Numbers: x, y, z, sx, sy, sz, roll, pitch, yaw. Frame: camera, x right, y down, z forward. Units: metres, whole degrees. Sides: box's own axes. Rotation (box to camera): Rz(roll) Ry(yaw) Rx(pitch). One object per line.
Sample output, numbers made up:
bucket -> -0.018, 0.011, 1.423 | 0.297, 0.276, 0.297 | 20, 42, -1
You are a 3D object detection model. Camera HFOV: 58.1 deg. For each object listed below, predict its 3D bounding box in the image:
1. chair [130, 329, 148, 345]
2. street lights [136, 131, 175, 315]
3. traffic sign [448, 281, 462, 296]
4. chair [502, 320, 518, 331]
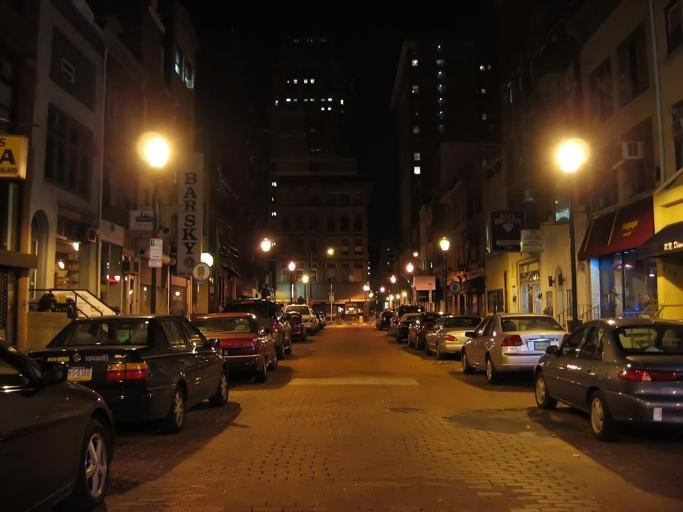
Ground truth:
chair -> -3.387, 1.351, 10.274 | 0.220, 0.190, 0.230 | -2, -3, 26
street lights -> -5.112, -0.851, 16.246 | 0.902, 5.136, 0.869 | -6, 16, -40
traffic sign -> 6.941, 1.929, 37.442 | 1.180, 0.745, 1.773 | 1, -2, 4
chair -> 4.369, 1.826, 16.174 | 0.367, 0.431, 0.227 | 1, -23, -4
